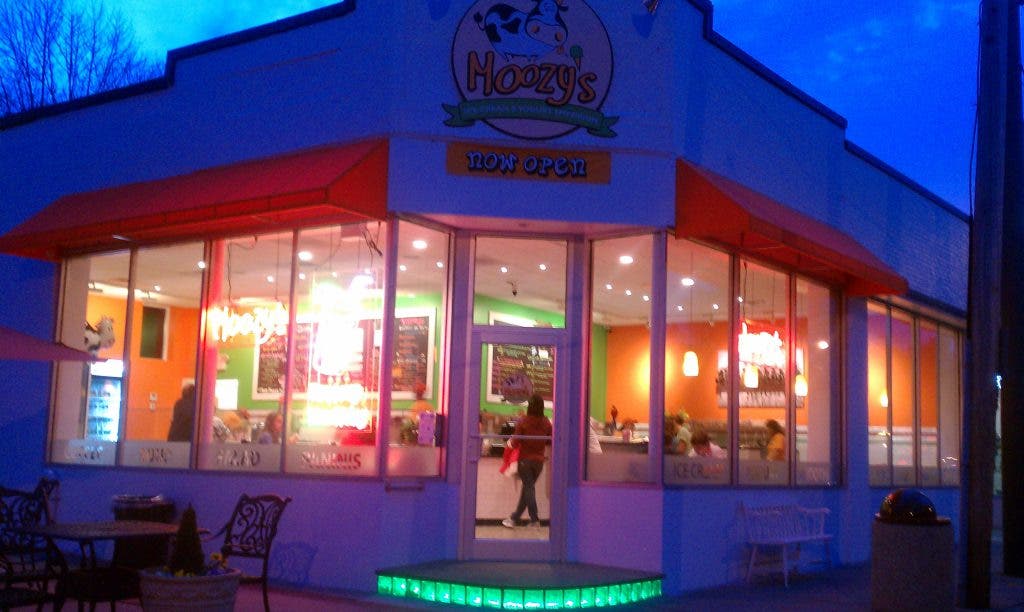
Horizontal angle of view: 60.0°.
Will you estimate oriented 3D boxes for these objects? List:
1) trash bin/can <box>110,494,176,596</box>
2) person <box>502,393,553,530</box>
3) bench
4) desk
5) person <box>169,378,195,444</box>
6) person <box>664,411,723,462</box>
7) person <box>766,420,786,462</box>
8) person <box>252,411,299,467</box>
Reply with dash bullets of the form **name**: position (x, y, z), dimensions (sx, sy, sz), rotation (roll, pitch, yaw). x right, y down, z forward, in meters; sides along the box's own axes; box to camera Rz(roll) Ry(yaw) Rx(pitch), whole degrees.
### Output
- **trash bin/can**: position (-5.942, 3.845, 14.354), dimensions (1.283, 1.567, 1.296), rotation (3, 1, -29)
- **person**: position (0.283, 2.617, 15.175), dimensions (0.720, 2.230, 0.257), rotation (4, -12, -8)
- **bench**: position (4.967, 4.234, 16.003), dimensions (2.099, 1.273, 0.772), rotation (9, -13, -44)
- **desk**: position (-5.520, 3.627, 12.350), dimensions (1.797, 0.890, 1.225), rotation (-3, -12, 19)
- **person**: position (-5.820, 1.863, 15.725), dimensions (0.605, 1.026, 0.215), rotation (-5, -14, 29)
- **person**: position (3.003, 2.201, 15.329), dimensions (0.918, 0.808, 0.229), rotation (0, -1, -32)
- **person**: position (4.887, 2.485, 16.572), dimensions (0.178, 0.724, 0.691), rotation (-8, -15, 39)
- **person**: position (-4.092, 2.376, 15.275), dimensions (0.608, 1.042, 0.627), rotation (-5, -9, 12)
